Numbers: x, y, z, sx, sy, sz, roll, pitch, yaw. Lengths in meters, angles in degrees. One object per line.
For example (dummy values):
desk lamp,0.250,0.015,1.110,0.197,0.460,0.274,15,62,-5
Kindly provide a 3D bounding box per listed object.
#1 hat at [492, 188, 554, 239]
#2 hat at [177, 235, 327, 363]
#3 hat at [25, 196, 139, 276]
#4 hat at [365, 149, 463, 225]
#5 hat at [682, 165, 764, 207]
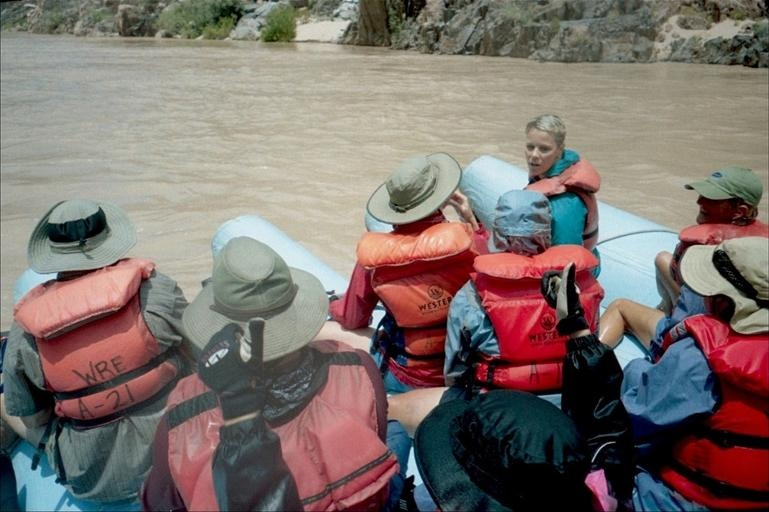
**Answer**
hat,0.923,-0.276,4.291,0.381,0.428,0.545,3,7,21
hat,-0.714,0.137,3.459,0.794,0.438,0.835,-6,35,-9
hat,-1.938,-0.203,4.041,0.750,0.297,0.776,-20,28,-27
hat,0.170,-0.449,4.311,0.631,0.167,0.633,-22,24,-17
hat,2.411,-0.501,4.490,0.419,0.220,0.273,6,19,2
